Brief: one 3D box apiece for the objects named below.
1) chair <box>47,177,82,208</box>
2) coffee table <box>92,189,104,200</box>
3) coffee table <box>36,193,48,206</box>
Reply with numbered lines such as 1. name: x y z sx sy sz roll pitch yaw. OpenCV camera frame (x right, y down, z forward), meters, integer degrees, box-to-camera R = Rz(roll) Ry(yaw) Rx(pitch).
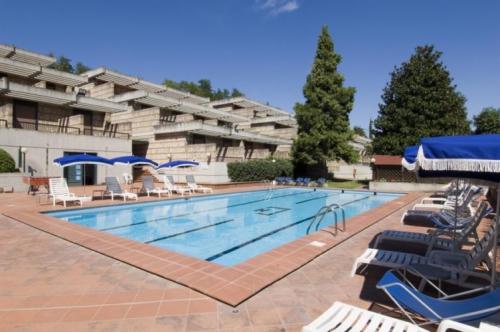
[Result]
1. chair: -9.592 1.388 17.834 1.870 1.001 1.163 10 7 43
2. coffee table: -9.436 1.842 21.435 0.642 0.387 0.568 0 -2 7
3. coffee table: -11.334 1.896 18.840 0.706 0.540 0.630 0 -3 -5
